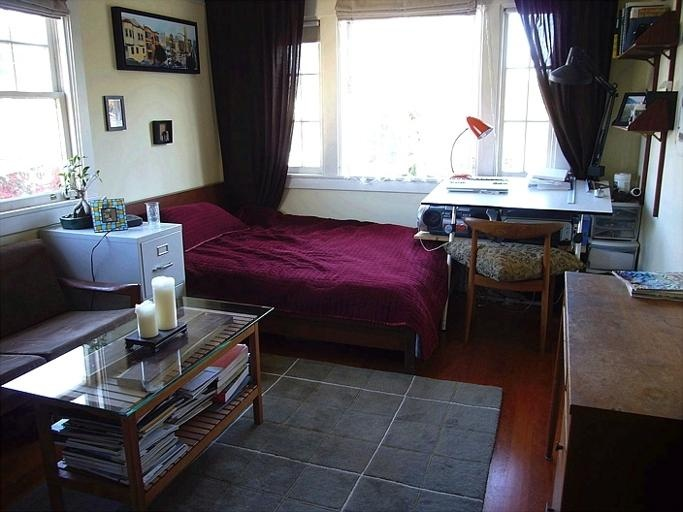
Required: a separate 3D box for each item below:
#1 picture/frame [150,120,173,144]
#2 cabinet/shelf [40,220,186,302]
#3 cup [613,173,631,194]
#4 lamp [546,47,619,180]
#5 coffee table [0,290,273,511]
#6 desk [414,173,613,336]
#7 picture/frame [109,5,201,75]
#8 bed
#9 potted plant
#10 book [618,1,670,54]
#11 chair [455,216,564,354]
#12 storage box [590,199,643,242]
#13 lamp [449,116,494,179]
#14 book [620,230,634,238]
[{"bbox_3d":[-1.492,-1.019,4.113,0.047,0.191,0.202,0,4,19],"label":"picture/frame"},{"bbox_3d":[-1.361,-0.050,3.278,0.484,0.431,0.305,16,31,17],"label":"cabinet/shelf"},{"bbox_3d":[2.168,-0.566,3.809,0.112,0.134,0.191,6,20,27],"label":"cup"},{"bbox_3d":[1.805,-1.037,3.716,0.426,0.970,0.685,6,20,28],"label":"lamp"},{"bbox_3d":[-0.817,0.319,2.095,0.719,0.624,1.064,7,15,20],"label":"coffee table"},{"bbox_3d":[1.168,-0.024,3.336,0.990,0.586,1.013,4,12,15],"label":"desk"},{"bbox_3d":[-1.487,-1.730,4.029,0.095,0.438,0.938,4,19,21],"label":"picture/frame"},{"bbox_3d":[-0.238,0.102,3.500,1.728,0.726,1.419,6,22,16],"label":"bed"},{"bbox_3d":[-1.764,-0.438,3.346,0.290,0.440,0.285,-1,-3,-26],"label":"potted plant"},{"bbox_3d":[2.036,-1.529,3.376,0.358,0.152,0.491,-12,9,14],"label":"book"},{"bbox_3d":[1.143,0.043,3.571,0.775,1.135,0.809,5,28,19],"label":"chair"},{"bbox_3d":[2.023,-0.269,3.605,0.282,0.276,0.157,3,7,14],"label":"storage box"},{"bbox_3d":[1.088,-0.914,4.144,0.375,0.492,0.397,2,18,17],"label":"lamp"},{"bbox_3d":[2.132,-0.164,3.686,0.064,0.060,0.016,5,4,17],"label":"book"}]
